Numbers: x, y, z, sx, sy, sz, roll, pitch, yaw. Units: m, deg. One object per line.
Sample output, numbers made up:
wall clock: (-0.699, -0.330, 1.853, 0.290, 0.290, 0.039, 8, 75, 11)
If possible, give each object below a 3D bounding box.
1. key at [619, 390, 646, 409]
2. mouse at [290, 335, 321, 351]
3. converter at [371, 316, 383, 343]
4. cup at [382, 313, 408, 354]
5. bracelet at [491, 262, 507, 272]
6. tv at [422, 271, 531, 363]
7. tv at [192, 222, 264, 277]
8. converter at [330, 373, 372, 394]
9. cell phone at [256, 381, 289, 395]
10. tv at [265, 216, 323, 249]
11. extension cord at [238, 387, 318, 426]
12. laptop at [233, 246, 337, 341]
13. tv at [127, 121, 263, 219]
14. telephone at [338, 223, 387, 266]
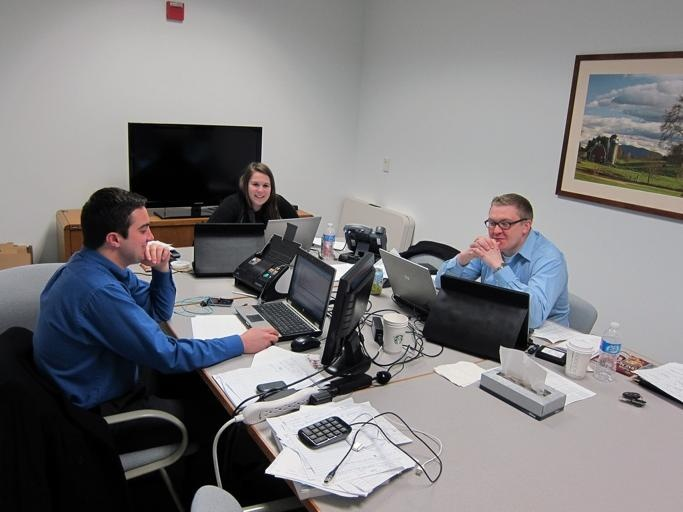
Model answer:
key: (1.210, 0.597, 1.967, 0.062, 0.021, 0.064, 4, 18, 11)
mouse: (-0.175, 0.391, 2.188, 0.117, 0.041, 0.058, -10, 17, -40)
converter: (0.173, 0.369, 2.342, 0.031, 0.043, 0.119, 0, 9, -6)
cup: (0.234, 0.359, 2.249, 0.150, 0.178, 0.160, 2, 11, 0)
bracelet: (0.825, 0.065, 2.535, 0.059, 0.043, 0.054, -16, 21, 28)
tv: (0.670, 0.326, 2.352, 0.501, 0.379, 0.360, 17, 7, 25)
tv: (-0.713, -0.113, 2.960, 0.399, 0.332, 0.317, 1, 11, -17)
converter: (0.034, 0.500, 1.912, 0.128, 0.036, 0.071, -9, 15, -32)
cell phone: (-0.278, 0.511, 1.849, 0.080, 0.020, 0.050, -8, 18, -28)
tv: (-0.311, -0.175, 3.170, 0.304, 0.227, 0.225, -14, 41, -44)
extension cord: (-0.236, 0.566, 1.766, 0.288, 0.086, 0.051, -13, 4, -37)
laptop: (-0.279, 0.238, 2.382, 0.419, 0.385, 0.499, -3, 22, -29)
tv: (-1.320, -0.736, 4.127, 1.027, 0.742, 0.272, -3, 17, -24)
telephone: (0.130, -0.099, 3.354, 0.300, 0.299, 0.269, 7, 12, 29)
